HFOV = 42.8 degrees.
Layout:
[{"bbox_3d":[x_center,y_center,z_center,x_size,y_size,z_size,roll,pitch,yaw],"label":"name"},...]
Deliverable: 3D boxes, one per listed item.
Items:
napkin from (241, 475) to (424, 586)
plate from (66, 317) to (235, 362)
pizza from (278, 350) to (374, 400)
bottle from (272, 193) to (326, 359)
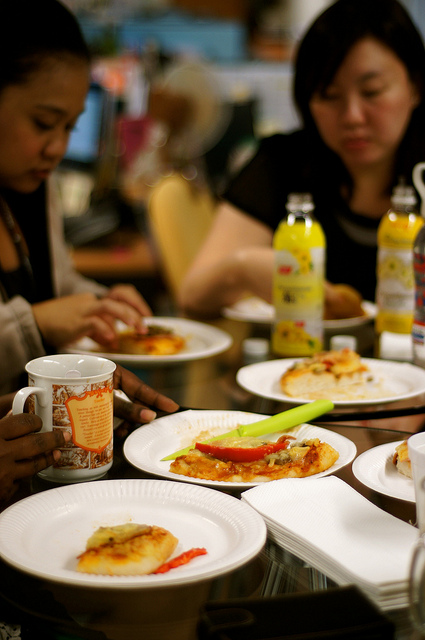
[{"bbox_3d":[0.109,0.157,0.444,0.070,0.015,0.119,-5,17,-34],"label":"napkin"},{"bbox_3d":[-0.111,0.041,1.223,0.324,0.060,0.390,2,7,29],"label":"plate"},{"bbox_3d":[0.195,0.109,0.995,0.202,0.059,0.198,-2,-3,19],"label":"pizza"},{"bbox_3d":[0.174,-0.096,1.123,0.109,0.341,0.210,-1,8,11],"label":"bottle"}]
